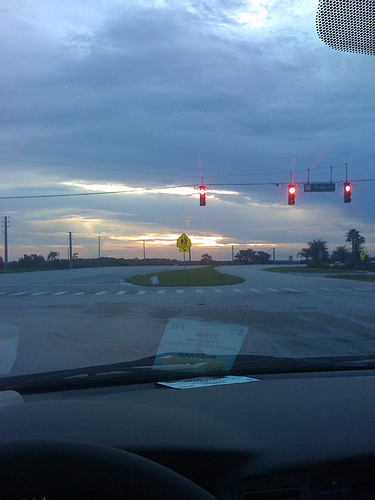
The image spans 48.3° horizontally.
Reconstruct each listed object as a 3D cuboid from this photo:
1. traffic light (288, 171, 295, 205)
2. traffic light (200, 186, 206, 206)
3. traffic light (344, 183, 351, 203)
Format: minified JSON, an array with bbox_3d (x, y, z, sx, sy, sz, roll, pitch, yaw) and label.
[{"bbox_3d":[5.678,-3.151,23.253,0.317,1.317,0.571,-2,-6,22],"label":"traffic light"},{"bbox_3d":[0.826,-3.140,23.893,0.289,1.122,0.186,3,-7,-22],"label":"traffic light"},{"bbox_3d":[8.969,-3.245,23.763,0.286,1.167,0.562,-2,-6,19],"label":"traffic light"}]
